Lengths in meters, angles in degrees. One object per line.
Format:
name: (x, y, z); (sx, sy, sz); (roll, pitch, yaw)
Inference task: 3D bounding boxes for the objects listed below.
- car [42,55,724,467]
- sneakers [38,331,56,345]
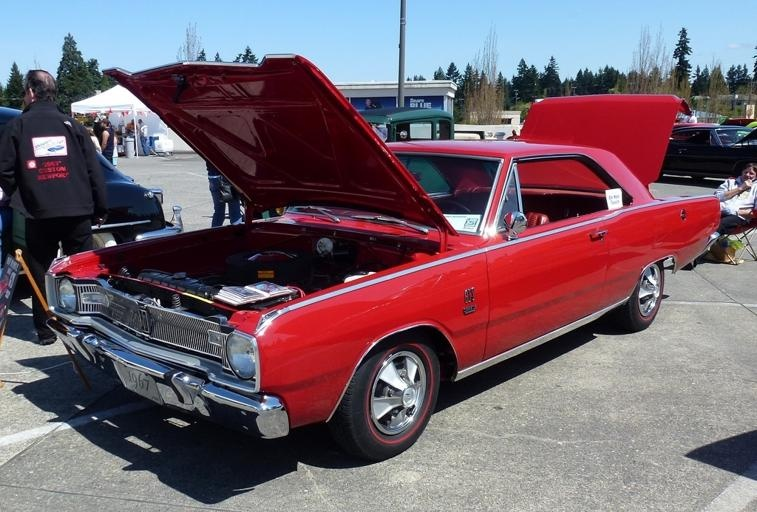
car: (0.512, -0.108, 5.207); (5.310, 2.023, 2.786); (-8, 10, -38)
sneakers: (-3.254, 0.810, 5.464); (0.173, 0.113, 0.059); (3, 12, -29)
